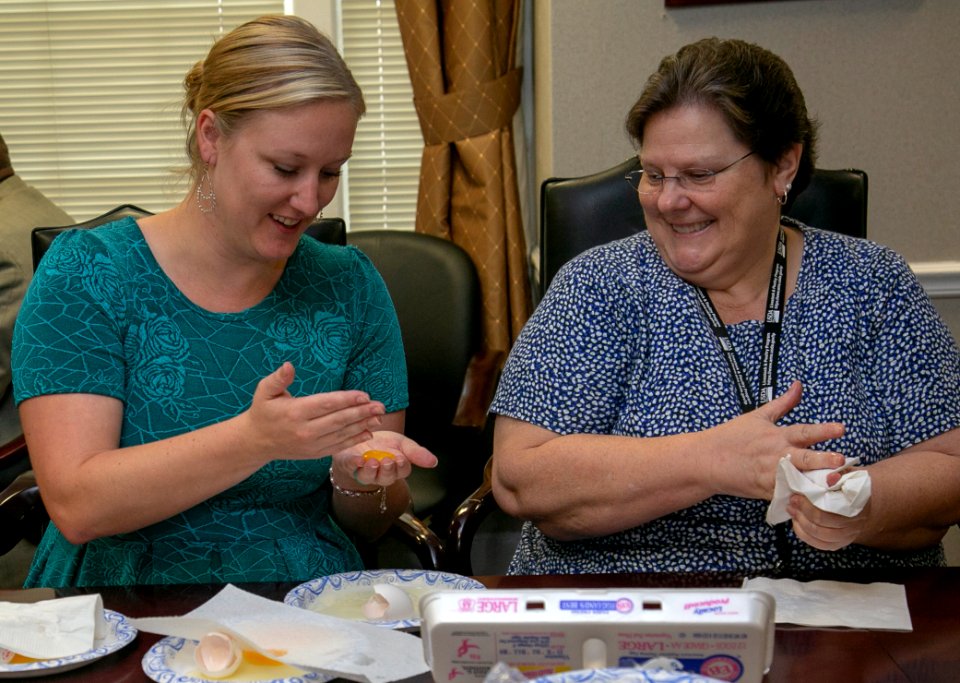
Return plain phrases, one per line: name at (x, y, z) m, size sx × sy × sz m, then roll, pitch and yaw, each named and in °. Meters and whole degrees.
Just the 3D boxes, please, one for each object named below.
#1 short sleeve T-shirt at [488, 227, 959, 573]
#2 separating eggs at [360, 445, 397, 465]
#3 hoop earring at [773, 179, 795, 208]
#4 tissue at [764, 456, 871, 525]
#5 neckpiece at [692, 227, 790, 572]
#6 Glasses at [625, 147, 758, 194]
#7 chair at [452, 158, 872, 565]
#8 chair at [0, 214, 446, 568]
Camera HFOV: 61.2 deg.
short sleeve T-shirt at (0.430, 0.108, 1.772) m, size 0.617 × 0.866 × 0.676 m, roll 0°, pitch -5°, yaw 2°
separating eggs at (-0.181, 0.202, 1.441) m, size 0.044 × 0.017 × 0.029 m, roll 3°, pitch 7°, yaw -5°
hoop earring at (0.577, -0.282, 1.549) m, size 0.042 × 0.062 × 0.018 m, roll 13°, pitch -2°, yaw -31°
tissue at (0.472, 0.215, 1.131) m, size 0.109 × 0.103 × 0.047 m, roll 1°, pitch 3°, yaw 18°
neckpiece at (0.504, 0.055, 1.553) m, size 0.182 × 0.516 × 0.056 m, roll -2°, pitch -23°, yaw -3°
Glasses at (0.388, -0.302, 1.455) m, size 0.202 × 0.045 × 0.067 m, roll -3°, pitch 31°, yaw 16°
chair at (0.368, 0.064, 2.175) m, size 0.857 × 1.436 × 0.971 m, roll 0°, pitch -4°, yaw 6°
chair at (-0.485, -0.001, 1.801) m, size 0.809 × 0.930 × 0.615 m, roll 3°, pitch -7°, yaw -25°
